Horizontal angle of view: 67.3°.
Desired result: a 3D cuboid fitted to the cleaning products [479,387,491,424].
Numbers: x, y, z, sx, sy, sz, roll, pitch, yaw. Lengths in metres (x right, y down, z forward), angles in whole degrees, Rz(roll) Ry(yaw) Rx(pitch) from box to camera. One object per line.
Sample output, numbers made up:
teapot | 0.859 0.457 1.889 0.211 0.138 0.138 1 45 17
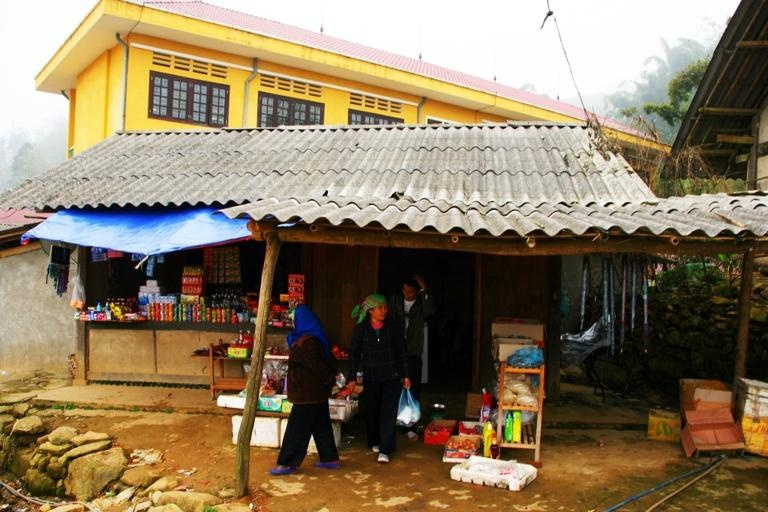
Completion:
cleaning products | 1.916 2.867 10.965 0.310 0.628 0.988 -1 -18 5

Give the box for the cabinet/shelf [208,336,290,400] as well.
cabinet/shelf | -3.053 2.502 12.546 1.624 1.039 0.549 4 4 16

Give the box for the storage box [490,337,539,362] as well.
storage box | 2.322 1.709 10.360 0.745 0.395 0.597 3 13 13

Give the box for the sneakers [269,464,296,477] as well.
sneakers | -1.703 3.623 9.763 0.422 0.167 0.169 5 -2 -4

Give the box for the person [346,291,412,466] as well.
person | -0.121 2.136 10.337 1.028 2.755 0.902 9 16 36

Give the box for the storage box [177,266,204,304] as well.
storage box | -4.439 0.674 13.409 0.567 0.770 0.369 4 13 17

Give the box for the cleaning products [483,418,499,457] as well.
cleaning products | 1.882 3.205 10.193 0.282 0.579 0.581 1 12 7

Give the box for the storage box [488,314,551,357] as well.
storage box | 2.462 1.311 10.700 1.132 0.814 0.650 -1 -5 13

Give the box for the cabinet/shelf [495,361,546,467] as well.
cabinet/shelf | 2.376 2.787 10.162 0.833 1.558 1.683 1 -4 9

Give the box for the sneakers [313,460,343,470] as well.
sneakers | -0.972 3.582 9.923 0.453 0.200 0.155 6 0 8

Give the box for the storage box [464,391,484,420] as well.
storage box | 1.785 3.020 11.525 0.391 0.140 0.586 7 43 4
